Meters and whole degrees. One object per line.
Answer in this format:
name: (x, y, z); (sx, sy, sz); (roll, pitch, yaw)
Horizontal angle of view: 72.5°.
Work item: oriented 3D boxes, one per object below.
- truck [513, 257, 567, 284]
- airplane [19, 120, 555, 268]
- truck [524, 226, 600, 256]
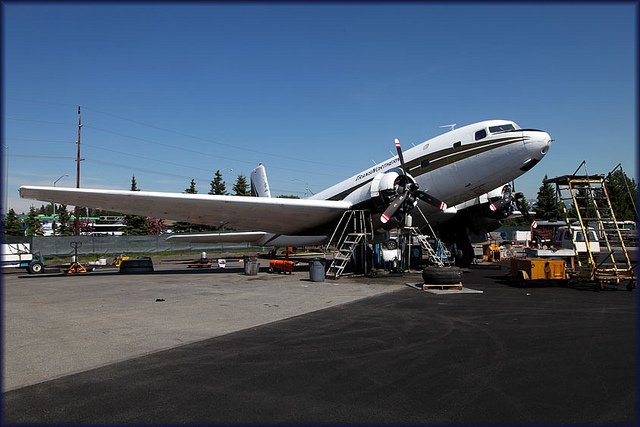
truck: (9.953, 2.718, 20.606); (2.270, 1.012, 2.520); (1, -5, -9)
airplane: (-2.676, 0.791, 28.948); (23.990, 6.137, 27.386); (-7, -9, -27)
truck: (14.819, 1.630, 27.172); (4.063, 1.270, 1.700); (4, 3, -3)
